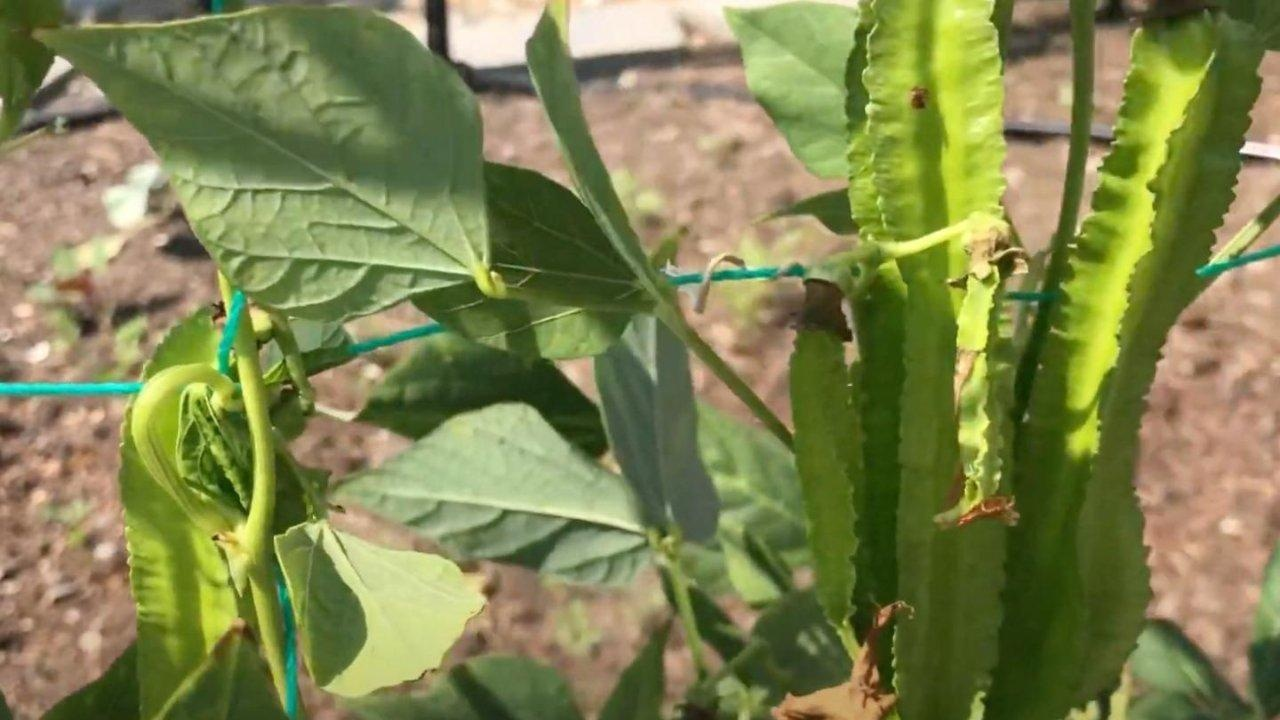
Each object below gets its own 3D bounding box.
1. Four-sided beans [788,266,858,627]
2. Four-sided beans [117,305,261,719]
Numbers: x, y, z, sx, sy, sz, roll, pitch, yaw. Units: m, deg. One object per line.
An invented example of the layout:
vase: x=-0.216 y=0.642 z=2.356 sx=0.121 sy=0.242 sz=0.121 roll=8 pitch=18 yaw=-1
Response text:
Four-sided beans: x=0.166 y=0.026 z=1.453 sx=0.048 sy=0.041 sz=0.254 roll=2 pitch=33 yaw=7
Four-sided beans: x=-0.419 y=0.138 z=1.519 sx=0.097 sy=0.373 sz=0.071 roll=-2 pitch=1 yaw=5
